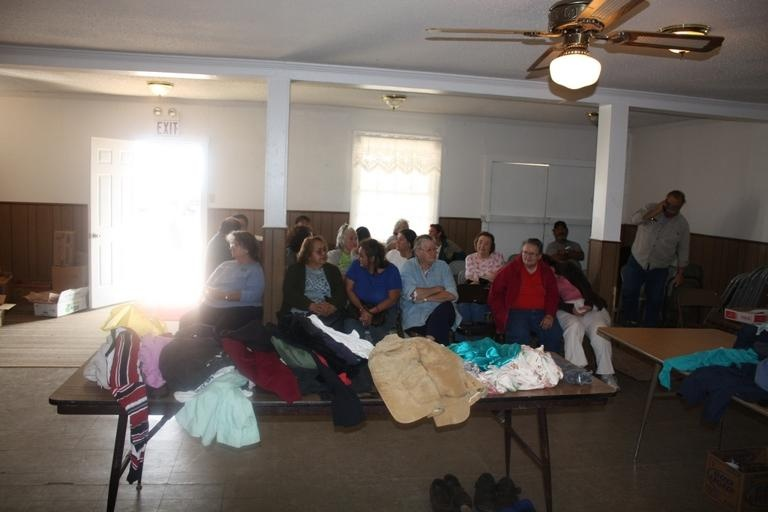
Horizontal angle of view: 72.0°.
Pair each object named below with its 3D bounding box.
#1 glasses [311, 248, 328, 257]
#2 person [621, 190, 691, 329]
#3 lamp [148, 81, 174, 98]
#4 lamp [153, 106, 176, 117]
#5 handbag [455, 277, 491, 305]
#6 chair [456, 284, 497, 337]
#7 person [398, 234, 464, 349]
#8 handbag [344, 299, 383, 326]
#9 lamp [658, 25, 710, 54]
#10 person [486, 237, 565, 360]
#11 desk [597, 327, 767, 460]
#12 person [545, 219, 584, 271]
[{"bbox_3d":[-0.682,-0.039,5.645,0.117,0.118,0.086,32,10,28],"label":"glasses"},{"bbox_3d":[3.517,0.041,6.843,0.779,1.746,0.557,3,8,18],"label":"person"},{"bbox_3d":[-3.297,-2.491,7.817,0.254,0.124,0.253,-2,-1,-16],"label":"lamp"},{"bbox_3d":[-3.649,-2.411,8.826,0.404,0.164,0.115,-3,15,-6],"label":"lamp"},{"bbox_3d":[1.030,0.414,6.076,0.470,0.302,0.109,0,2,6],"label":"handbag"},{"bbox_3d":[1.040,0.633,6.142,0.451,0.769,0.545,0,-3,-1],"label":"chair"},{"bbox_3d":[0.453,0.339,5.605,0.579,1.090,0.438,6,9,37],"label":"person"},{"bbox_3d":[-0.204,0.606,5.626,0.336,0.124,0.264,10,2,12],"label":"handbag"},{"bbox_3d":[2.483,-1.795,4.389,0.388,0.137,0.383,0,0,-37],"label":"lamp"},{"bbox_3d":[1.542,0.503,5.766,0.799,1.025,0.435,1,7,5],"label":"person"},{"bbox_3d":[2.718,1.502,5.052,1.094,0.858,1.773,0,8,1],"label":"desk"},{"bbox_3d":[2.718,-0.118,8.033,0.556,0.769,0.449,-3,5,2],"label":"person"}]
